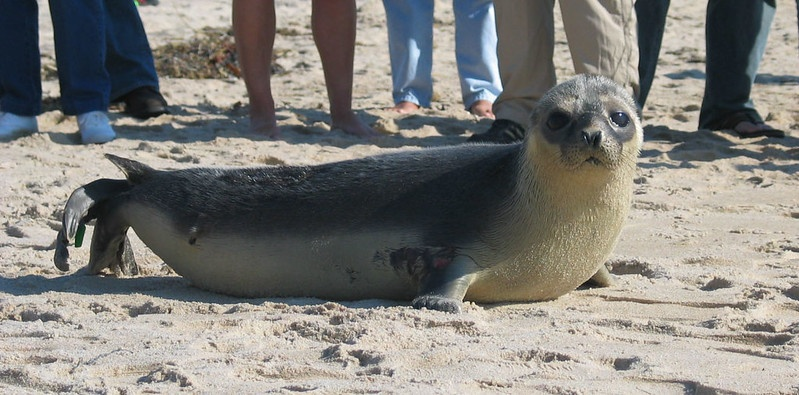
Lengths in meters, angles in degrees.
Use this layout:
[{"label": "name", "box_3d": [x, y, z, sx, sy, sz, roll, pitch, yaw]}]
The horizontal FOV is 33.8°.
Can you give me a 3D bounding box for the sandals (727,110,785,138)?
[{"label": "sandals", "box_3d": [4.975, -0.983, 18.047, 0.960, 0.308, 0.294, 1, 1, 24]}]
